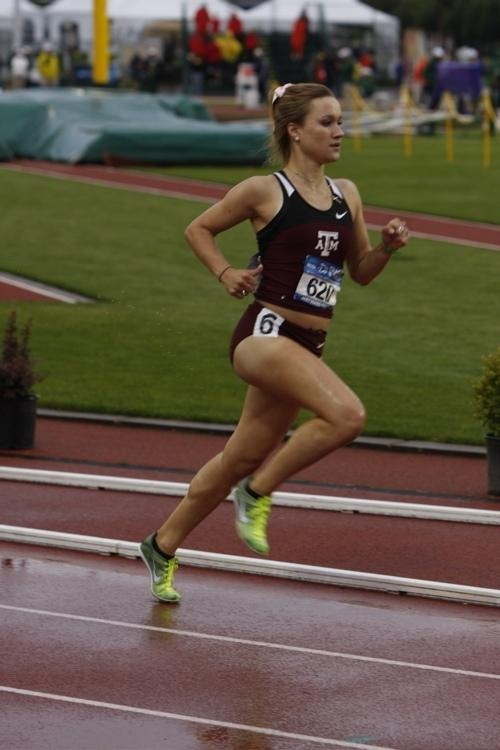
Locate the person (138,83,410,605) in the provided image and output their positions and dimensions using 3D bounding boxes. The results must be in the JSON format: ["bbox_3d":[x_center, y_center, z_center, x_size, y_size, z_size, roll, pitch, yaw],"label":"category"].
[{"bbox_3d":[0.121,-0.152,3.274,0.790,1.810,0.790,1,5,-9],"label":"person"}]

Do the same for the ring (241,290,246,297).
[{"bbox_3d":[-0.023,-0.267,2.965,0.006,0.016,0.013,2,-3,23],"label":"ring"}]

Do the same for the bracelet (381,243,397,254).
[{"bbox_3d":[0.506,-0.458,3.277,0.033,0.040,0.013,-21,-4,34],"label":"bracelet"}]

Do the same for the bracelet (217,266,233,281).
[{"bbox_3d":[-0.095,-0.337,3.022,0.013,0.045,0.051,30,16,8],"label":"bracelet"}]
